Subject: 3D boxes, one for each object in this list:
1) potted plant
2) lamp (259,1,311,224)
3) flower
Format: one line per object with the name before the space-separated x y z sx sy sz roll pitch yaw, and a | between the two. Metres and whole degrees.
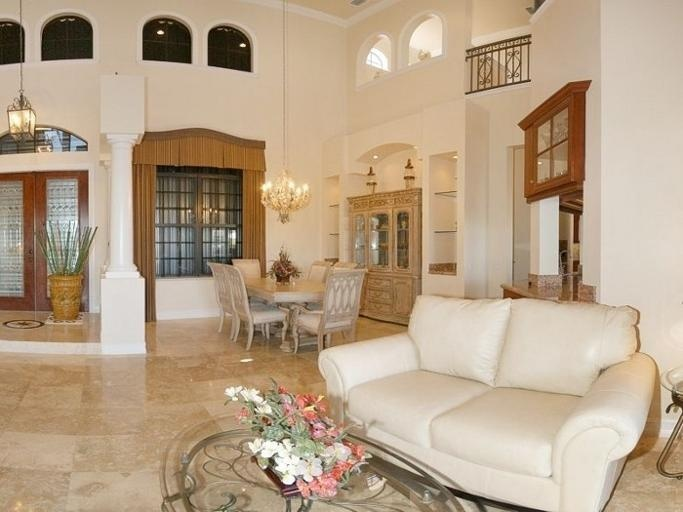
potted plant | -4.126 0.181 7.976 0.765 1.557 1.959 -1 0 -30
lamp | -0.993 -2.533 8.675 0.736 3.256 2.154 -1 0 -6
flower | -0.258 1.025 3.032 0.630 0.540 0.521 -2 0 40
